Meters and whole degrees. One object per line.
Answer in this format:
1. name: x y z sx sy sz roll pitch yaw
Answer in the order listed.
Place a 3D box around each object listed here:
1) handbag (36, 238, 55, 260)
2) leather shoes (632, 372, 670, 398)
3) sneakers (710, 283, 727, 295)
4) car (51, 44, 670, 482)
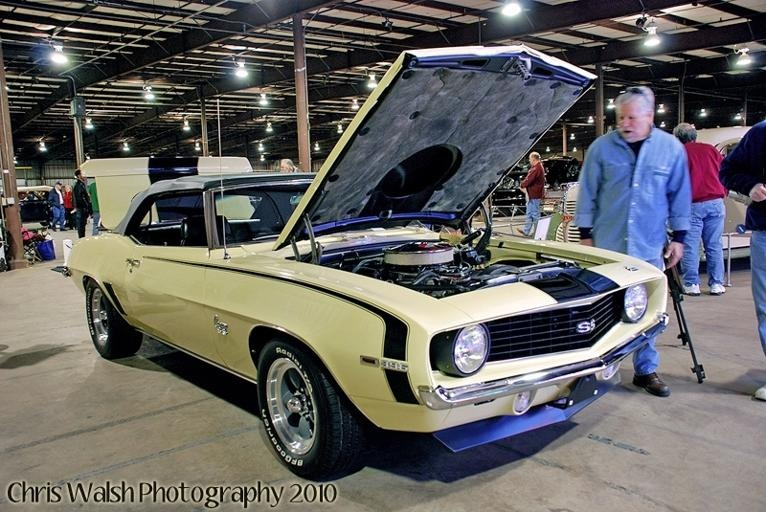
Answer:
1. handbag: -8.671 -0.135 12.332 0.573 0.589 0.445 0 0 -11
2. leather shoes: 2.177 1.045 3.873 0.125 0.096 0.273 -6 4 -23
3. sneakers: 4.596 0.460 6.550 0.110 0.107 0.303 -1 3 42
4. car: -0.635 -0.125 4.284 2.566 2.031 4.880 -8 9 -43
